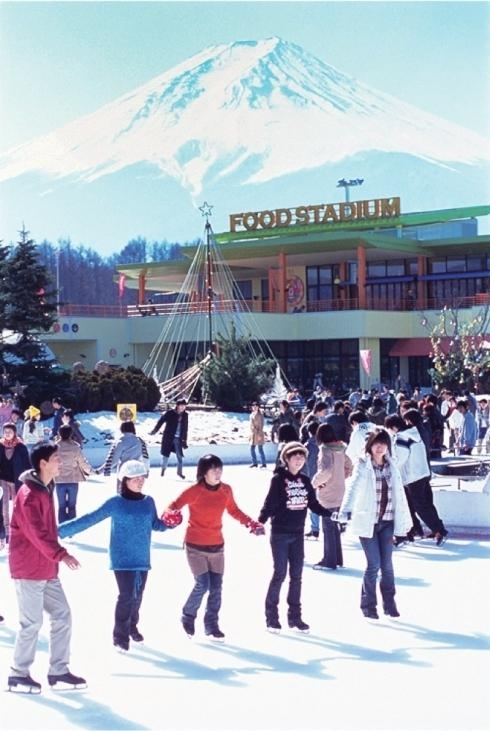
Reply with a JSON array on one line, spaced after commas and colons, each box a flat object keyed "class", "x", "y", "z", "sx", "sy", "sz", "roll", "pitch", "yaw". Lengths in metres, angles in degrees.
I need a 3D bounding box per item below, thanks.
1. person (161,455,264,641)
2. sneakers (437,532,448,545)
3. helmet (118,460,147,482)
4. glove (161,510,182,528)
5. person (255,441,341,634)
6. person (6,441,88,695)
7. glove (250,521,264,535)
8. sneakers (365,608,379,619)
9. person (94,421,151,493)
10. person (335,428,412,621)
[{"class": "person", "x": -0.237, "y": 1.313, "z": 6.259, "sx": 0.640, "sy": 1.340, "sz": 0.539, "roll": 0, "pitch": -2, "yaw": 0}, {"class": "sneakers", "x": 2.301, "y": 2.009, "z": 10.006, "sx": 0.063, "sy": 0.158, "sz": 0.056, "roll": 18, "pitch": 3, "yaw": -31}, {"class": "helmet", "x": -0.764, "y": 0.712, "z": 5.894, "sx": 0.216, "sy": 0.166, "sz": 0.307, "roll": 2, "pitch": -9, "yaw": -26}, {"class": "glove", "x": -0.514, "y": 1.084, "z": 6.063, "sx": 0.139, "sy": 0.112, "sz": 0.064, "roll": 5, "pitch": -2, "yaw": -21}, {"class": "person", "x": 0.337, "y": 1.301, "z": 6.616, "sx": 0.435, "sy": 1.400, "sz": 0.730, "roll": 0, "pitch": -2, "yaw": 5}, {"class": "person", "x": -1.180, "y": 1.195, "z": 5.098, "sx": 0.446, "sy": 1.449, "sz": 0.456, "roll": 1, "pitch": -2, "yaw": -15}, {"class": "glove", "x": 0.090, "y": 1.178, "z": 6.203, "sx": 0.070, "sy": 0.040, "sz": 0.101, "roll": 1, "pitch": 33, "yaw": -4}, {"class": "sneakers", "x": 1.000, "y": 1.962, "z": 6.787, "sx": 0.115, "sy": 0.074, "sz": 0.132, "roll": 0, "pitch": -2, "yaw": -1}, {"class": "person", "x": -1.424, "y": 1.150, "z": 10.627, "sx": 0.513, "sy": 0.993, "sz": 0.296, "roll": -8, "pitch": 21, "yaw": -18}, {"class": "person", "x": 1.055, "y": 1.259, "z": 6.913, "sx": 0.600, "sy": 1.501, "sz": 0.333, "roll": 0, "pitch": -2, "yaw": -3}]
